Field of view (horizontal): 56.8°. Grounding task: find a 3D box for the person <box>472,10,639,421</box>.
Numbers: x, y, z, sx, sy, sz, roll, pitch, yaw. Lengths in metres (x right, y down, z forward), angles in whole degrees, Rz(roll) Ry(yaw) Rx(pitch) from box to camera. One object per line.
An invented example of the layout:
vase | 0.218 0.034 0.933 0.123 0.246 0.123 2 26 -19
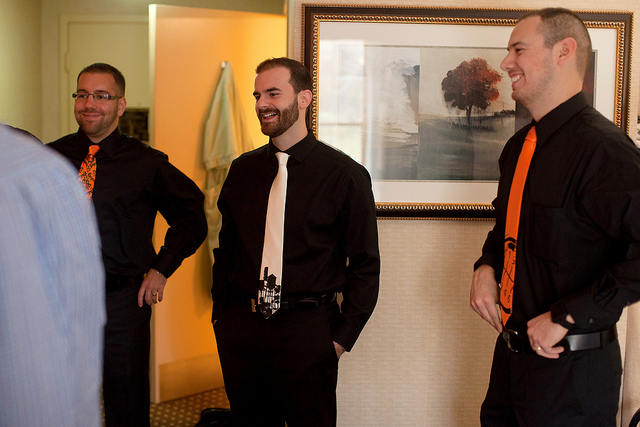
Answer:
person | 0.885 0.052 2.236 0.629 1.596 0.448 11 17 43

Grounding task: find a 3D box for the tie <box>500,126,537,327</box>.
tie | 0.757 0.067 2.313 0.095 0.890 0.036 -11 -36 35

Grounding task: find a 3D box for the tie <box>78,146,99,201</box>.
tie | -1.076 -0.199 2.750 0.067 0.296 0.029 9 -30 -25

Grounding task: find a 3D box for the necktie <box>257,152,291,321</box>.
necktie | -0.198 0.098 2.495 0.093 0.688 0.035 2 -13 10

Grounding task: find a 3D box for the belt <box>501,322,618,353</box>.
belt | 0.912 0.443 2.343 0.359 0.124 0.370 4 4 0
